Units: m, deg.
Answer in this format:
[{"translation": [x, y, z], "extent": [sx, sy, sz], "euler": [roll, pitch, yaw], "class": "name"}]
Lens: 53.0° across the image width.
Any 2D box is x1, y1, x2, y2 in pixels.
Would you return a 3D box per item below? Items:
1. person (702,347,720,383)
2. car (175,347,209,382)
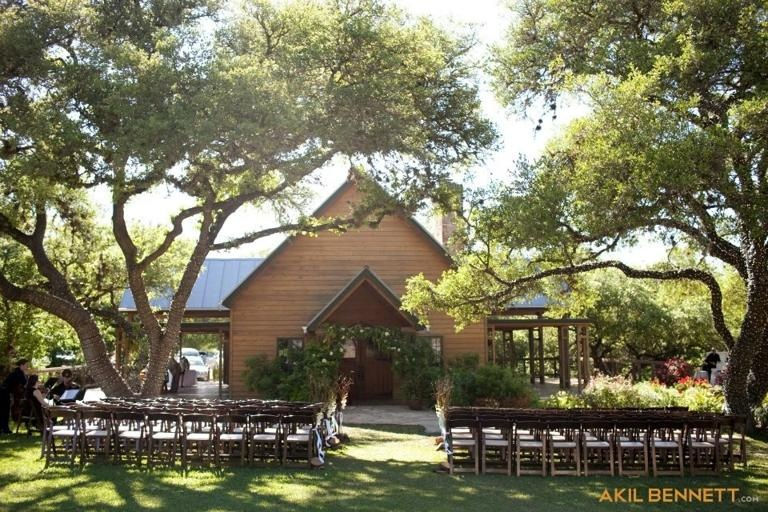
[{"translation": [14.393, 4.845, 33.990], "extent": [0.772, 1.611, 2.427], "euler": [-5, -15, 22], "class": "person"}, {"translation": [-11.978, 6.921, 49.050], "extent": [1.989, 1.545, 4.451], "euler": [2, -9, -17], "class": "car"}]
